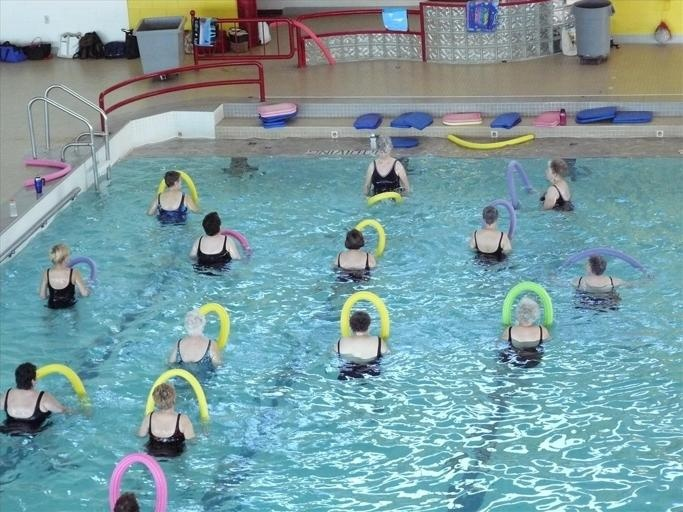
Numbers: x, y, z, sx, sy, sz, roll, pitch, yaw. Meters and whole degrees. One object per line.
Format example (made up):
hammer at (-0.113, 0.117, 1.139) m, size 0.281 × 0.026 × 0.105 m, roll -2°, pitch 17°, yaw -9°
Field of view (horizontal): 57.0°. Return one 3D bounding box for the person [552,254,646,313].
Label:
person at (3.286, 0.296, 8.033) m, size 0.794 × 0.745 × 0.834 m, roll -1°, pitch 3°, yaw 26°

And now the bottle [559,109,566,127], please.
bottle at (4.218, -2.653, 12.100) m, size 0.133 × 0.301 × 0.330 m, roll 1°, pitch 28°, yaw 12°

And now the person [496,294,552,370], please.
person at (2.067, 0.844, 7.150) m, size 0.485 × 0.767 × 0.565 m, roll -1°, pitch 3°, yaw 25°

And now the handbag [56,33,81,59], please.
handbag at (-7.184, -5.612, 16.773) m, size 0.719 × 0.706 × 0.179 m, roll -2°, pitch 3°, yaw 13°

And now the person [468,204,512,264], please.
person at (2.168, -0.278, 8.942) m, size 0.634 × 0.832 × 0.541 m, roll 9°, pitch 26°, yaw 38°

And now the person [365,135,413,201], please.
person at (0.858, -1.399, 10.592) m, size 0.835 × 1.122 × 0.846 m, roll 5°, pitch 20°, yaw 27°

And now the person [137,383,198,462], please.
person at (-1.623, 1.608, 5.968) m, size 0.661 × 0.727 × 0.483 m, roll 6°, pitch 32°, yaw 2°

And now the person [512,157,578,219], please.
person at (3.232, -1.123, 10.018) m, size 1.152 × 0.775 × 0.684 m, roll 14°, pitch 33°, yaw 33°

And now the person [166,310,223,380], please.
person at (-1.514, 1.018, 7.018) m, size 0.653 × 0.740 × 0.582 m, roll 4°, pitch 10°, yaw 38°

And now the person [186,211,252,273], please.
person at (-1.756, -0.180, 9.110) m, size 0.801 × 0.840 × 0.834 m, roll 3°, pitch 11°, yaw 4°

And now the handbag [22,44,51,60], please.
handbag at (-8.040, -5.450, 16.760) m, size 0.557 × 0.393 × 0.244 m, roll -1°, pitch 36°, yaw -1°

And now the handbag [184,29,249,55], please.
handbag at (-3.217, -5.476, 16.220) m, size 1.153 × 0.337 × 0.768 m, roll -1°, pitch 23°, yaw 2°

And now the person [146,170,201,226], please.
person at (-2.654, -0.914, 10.088) m, size 0.650 × 0.846 × 0.505 m, roll 0°, pitch 4°, yaw 42°

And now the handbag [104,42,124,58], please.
handbag at (-5.905, -5.459, 16.627) m, size 0.521 × 0.341 × 0.190 m, roll -1°, pitch 11°, yaw -2°

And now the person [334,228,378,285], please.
person at (0.188, 0.002, 8.485) m, size 0.569 × 0.697 × 0.518 m, roll -3°, pitch 3°, yaw -1°

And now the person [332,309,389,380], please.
person at (0.236, 0.966, 6.960) m, size 0.580 × 0.734 × 0.423 m, roll -3°, pitch 3°, yaw -6°
